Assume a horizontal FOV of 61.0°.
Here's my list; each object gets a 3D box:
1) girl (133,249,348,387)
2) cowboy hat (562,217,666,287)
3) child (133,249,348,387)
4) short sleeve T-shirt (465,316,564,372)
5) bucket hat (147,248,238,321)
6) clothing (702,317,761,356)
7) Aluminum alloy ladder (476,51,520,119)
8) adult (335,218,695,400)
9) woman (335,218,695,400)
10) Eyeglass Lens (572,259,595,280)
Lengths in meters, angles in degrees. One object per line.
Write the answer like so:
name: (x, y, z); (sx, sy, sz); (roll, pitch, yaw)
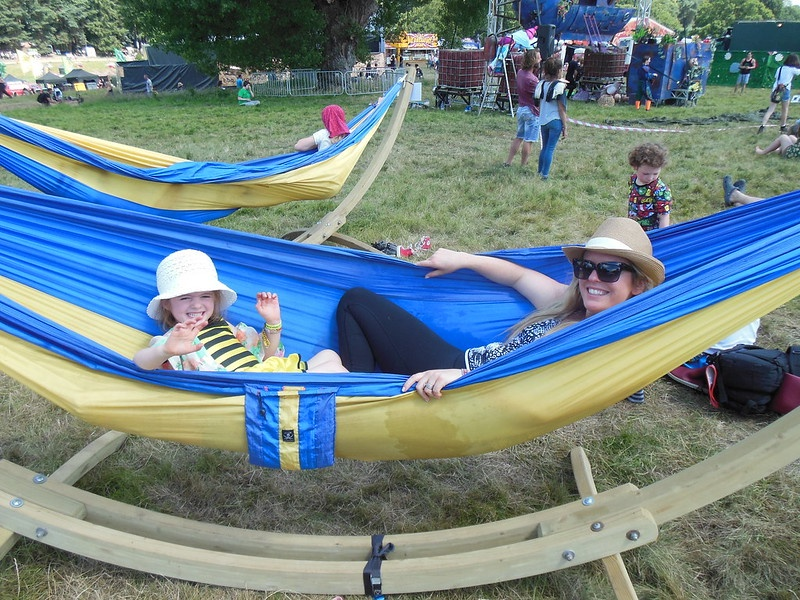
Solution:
girl: (-0.816, 0.060, 3.163); (0.974, 0.401, 0.537); (9, 11, 20)
cowboy hat: (0.957, -0.275, 3.037); (0.439, 0.180, 0.483); (-2, 6, -3)
child: (-0.818, 0.062, 3.203); (0.974, 0.401, 0.537); (9, 11, 20)
short sleeve T-shirt: (0.511, 0.198, 3.132); (0.390, 0.188, 0.224); (-27, 6, 4)
bucket hat: (-1.016, -0.122, 3.267); (0.439, 0.213, 0.365); (-7, 6, 3)
clothing: (1.585, 0.186, 3.259); (0.211, 0.145, 0.221); (5, -24, -41)
Aluminum alloy ladder: (1.694, -3.757, 11.815); (0.746, 0.685, 0.671); (15, -17, -29)
adult: (0.540, 0.130, 3.344); (1.475, 0.489, 0.824); (-20, 34, 21)
woman: (0.316, 0.139, 3.006); (1.780, 0.548, 0.960); (3, 25, -3)
Eyeglass Lens: (0.790, -0.132, 2.936); (0.084, 0.083, 0.036); (2, 53, 36)
